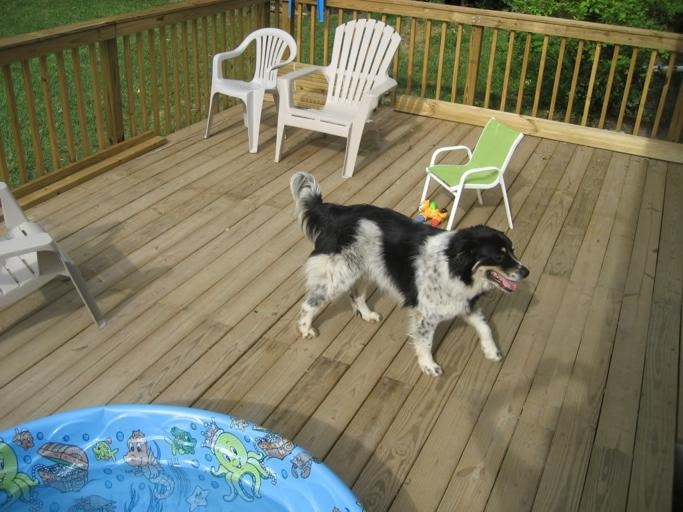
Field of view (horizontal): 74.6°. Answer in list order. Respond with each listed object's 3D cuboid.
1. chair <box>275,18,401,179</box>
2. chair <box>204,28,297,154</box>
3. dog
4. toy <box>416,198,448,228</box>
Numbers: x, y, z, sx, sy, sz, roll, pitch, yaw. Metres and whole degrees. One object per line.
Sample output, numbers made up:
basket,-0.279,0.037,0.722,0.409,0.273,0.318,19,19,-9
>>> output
chair,-0.025,-1.736,4.892,1.201,1.367,1.485,21,36,26
chair,-1.082,-1.965,5.262,0.936,1.242,0.986,9,28,4
dog,0.343,0.123,2.866,1.483,1.104,0.580,12,30,25
toy,0.772,-0.366,4.006,0.215,0.276,0.154,43,69,-18
